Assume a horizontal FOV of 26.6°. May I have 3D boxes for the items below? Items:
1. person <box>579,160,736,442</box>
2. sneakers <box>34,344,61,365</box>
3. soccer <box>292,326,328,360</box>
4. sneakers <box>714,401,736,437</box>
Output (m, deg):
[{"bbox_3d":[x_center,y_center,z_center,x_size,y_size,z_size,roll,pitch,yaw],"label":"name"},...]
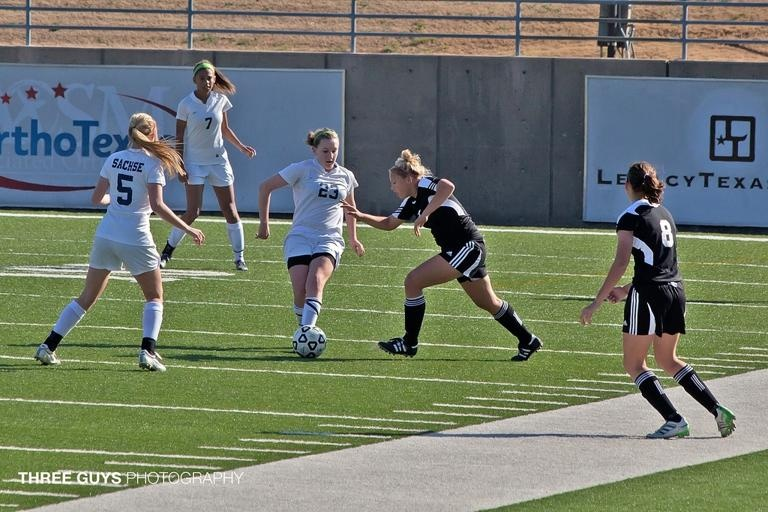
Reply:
[{"bbox_3d":[3.397,0.510,20.380,1.667,3.333,0.563,1,5,6],"label":"person"},{"bbox_3d":[-4.663,1.283,21.918,0.196,0.178,0.399,4,-9,30],"label":"sneakers"},{"bbox_3d":[-1.033,1.206,22.655,0.516,0.459,0.514,11,-10,-38],"label":"soccer"},{"bbox_3d":[4.295,1.986,20.301,0.244,0.445,0.175,-7,20,25],"label":"sneakers"}]
